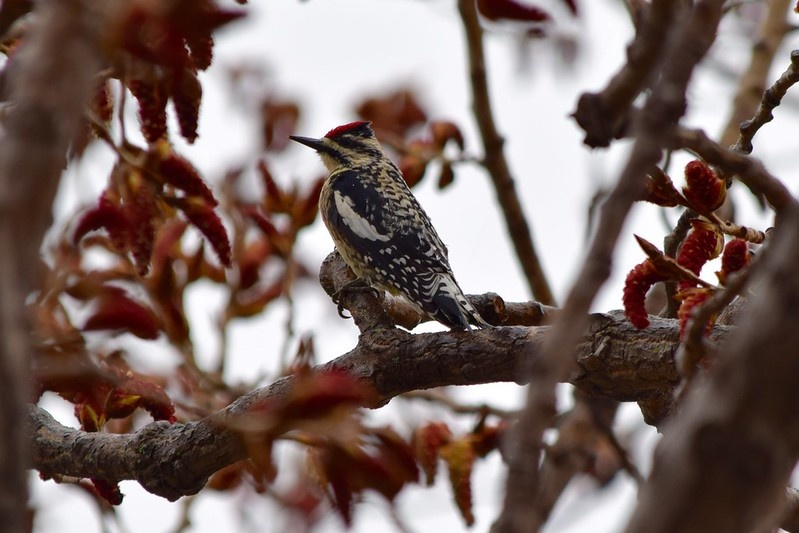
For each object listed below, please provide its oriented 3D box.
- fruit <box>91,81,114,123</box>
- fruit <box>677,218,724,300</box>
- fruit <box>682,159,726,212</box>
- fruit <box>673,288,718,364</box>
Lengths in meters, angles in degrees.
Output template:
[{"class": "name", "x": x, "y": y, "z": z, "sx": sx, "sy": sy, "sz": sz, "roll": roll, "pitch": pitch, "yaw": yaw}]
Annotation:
[{"class": "fruit", "x": -0.847, "y": -0.477, "z": 3.940, "sx": 0.037, "sy": 0.120, "sz": 0.043, "roll": 17, "pitch": -6, "yaw": -19}, {"class": "fruit", "x": 0.876, "y": -0.022, "z": 4.013, "sx": 0.132, "sy": 0.209, "sz": 0.102, "roll": 20, "pitch": -6, "yaw": 23}, {"class": "fruit", "x": 0.874, "y": -0.243, "z": 3.951, "sx": 0.118, "sy": 0.157, "sz": 0.138, "roll": -12, "pitch": -42, "yaw": 15}, {"class": "fruit", "x": 0.799, "y": 0.165, "z": 3.781, "sx": 0.145, "sy": 0.200, "sz": 0.087, "roll": 5, "pitch": 3, "yaw": -17}]
